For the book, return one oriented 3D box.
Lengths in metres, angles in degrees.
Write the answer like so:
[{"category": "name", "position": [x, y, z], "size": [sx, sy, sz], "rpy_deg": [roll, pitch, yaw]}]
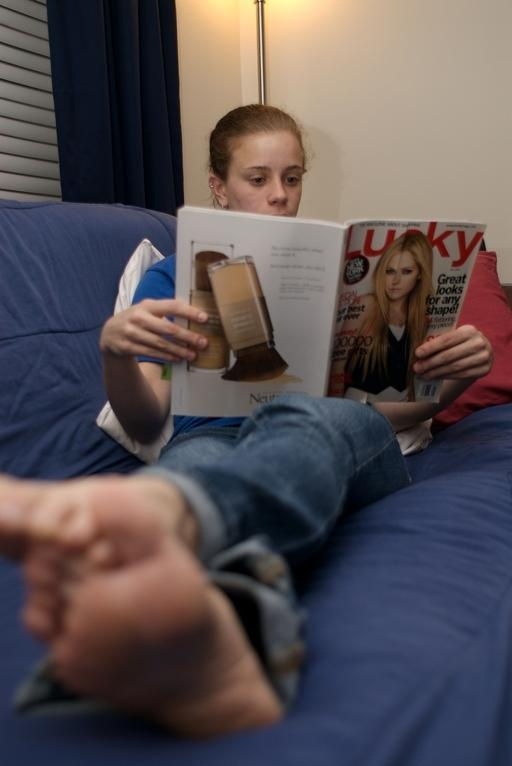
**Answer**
[{"category": "book", "position": [0.089, -0.086, 0.789], "size": [0.376, 0.267, 0.039], "rpy_deg": [-4, 23, -17]}]
